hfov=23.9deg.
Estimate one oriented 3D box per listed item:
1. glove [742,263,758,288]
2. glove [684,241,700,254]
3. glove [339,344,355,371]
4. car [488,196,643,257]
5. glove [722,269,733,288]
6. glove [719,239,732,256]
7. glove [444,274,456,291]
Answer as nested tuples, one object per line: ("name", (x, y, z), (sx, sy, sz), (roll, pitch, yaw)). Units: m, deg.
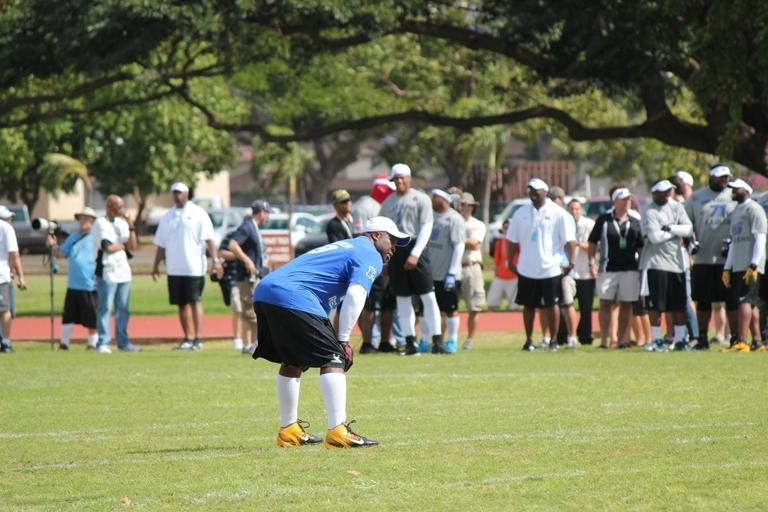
("glove", (6.140, 0.301, 30.072), (0.300, 0.277, 0.145), (16, 16, -9))
("glove", (5.328, -0.167, 31.015), (0.138, 0.200, 0.250), (1, -5, -36))
("glove", (-0.457, 1.430, 25.915), (0.211, 0.331, 0.258), (-5, 4, -28))
("car", (4.628, -0.901, 50.529), (2.738, 1.304, 1.551), (1, 2, -1))
("glove", (5.840, 0.357, 30.613), (0.097, 0.243, 0.188), (-1, -23, -4))
("glove", (5.853, -0.159, 30.762), (0.123, 0.296, 0.291), (-1, -4, -11))
("glove", (1.172, 0.426, 31.067), (0.190, 0.240, 0.085), (1, 7, -33))
